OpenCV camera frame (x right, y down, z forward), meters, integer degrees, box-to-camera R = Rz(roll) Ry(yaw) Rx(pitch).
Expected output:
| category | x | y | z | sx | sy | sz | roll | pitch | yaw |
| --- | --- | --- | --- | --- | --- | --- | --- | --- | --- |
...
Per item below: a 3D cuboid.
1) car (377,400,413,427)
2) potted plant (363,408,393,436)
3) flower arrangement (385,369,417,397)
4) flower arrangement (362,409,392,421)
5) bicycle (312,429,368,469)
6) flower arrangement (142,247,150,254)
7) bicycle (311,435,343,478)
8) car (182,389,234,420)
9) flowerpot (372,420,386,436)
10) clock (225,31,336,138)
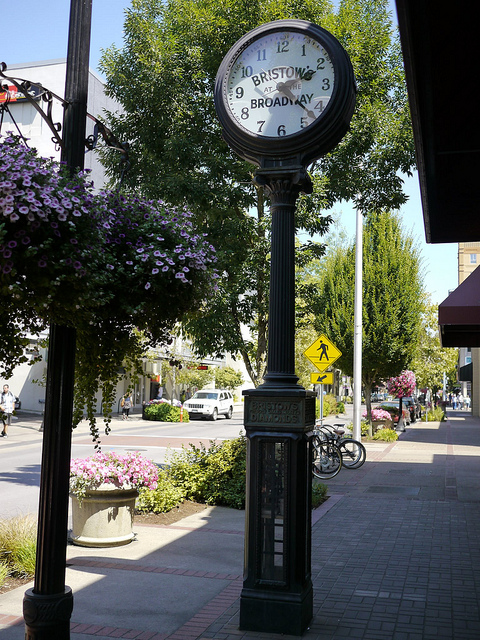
| category | x | y | z | sx | sy | sz | roll | pitch | yaw |
| --- | --- | --- | --- | --- | --- | --- | --- | --- | --- |
| car | 7.807 | 4.485 | 37.034 | 1.201 | 1.049 | 2.889 | 0 | -9 | 11 |
| potted plant | 5.119 | 3.720 | 27.642 | 1.132 | 1.278 | 0.989 | 1 | -10 | -4 |
| flower arrangement | 7.357 | 2.888 | 33.944 | 1.230 | 1.204 | 1.956 | -3 | -6 | 9 |
| flower arrangement | 5.235 | 3.574 | 28.198 | 0.958 | 0.393 | 0.951 | 1 | -2 | -13 |
| bicycle | 2.234 | 2.907 | 17.025 | 0.742 | 0.967 | 1.535 | -5 | -8 | -36 |
| flower arrangement | -0.537 | -0.403 | 4.256 | 0.027 | 0.016 | 0.028 | -10 | -8 | 8 |
| bicycle | 1.741 | 2.722 | 14.812 | 0.559 | 0.766 | 0.593 | -2 | -6 | 6 |
| car | -1.671 | 4.610 | 41.436 | 1.311 | 1.069 | 2.749 | -3 | -11 | 21 |
| flowerpot | 5.177 | 3.948 | 27.611 | 0.498 | 0.472 | 1.221 | -3 | -6 | 10 |
| clock | 0.353 | -1.868 | 5.911 | 0.827 | 0.826 | 0.067 | -10 | -17 | 18 |
